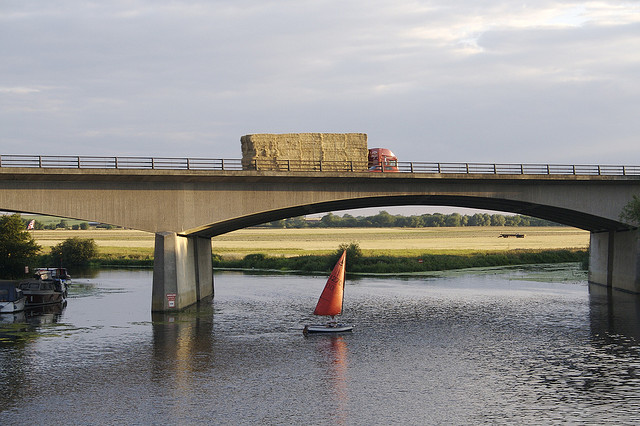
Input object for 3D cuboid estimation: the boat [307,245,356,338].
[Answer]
[{"bbox_3d":[1.032,8.063,119.044,4.335,7.119,4.996,1,-3,-4],"label":"boat"}]
